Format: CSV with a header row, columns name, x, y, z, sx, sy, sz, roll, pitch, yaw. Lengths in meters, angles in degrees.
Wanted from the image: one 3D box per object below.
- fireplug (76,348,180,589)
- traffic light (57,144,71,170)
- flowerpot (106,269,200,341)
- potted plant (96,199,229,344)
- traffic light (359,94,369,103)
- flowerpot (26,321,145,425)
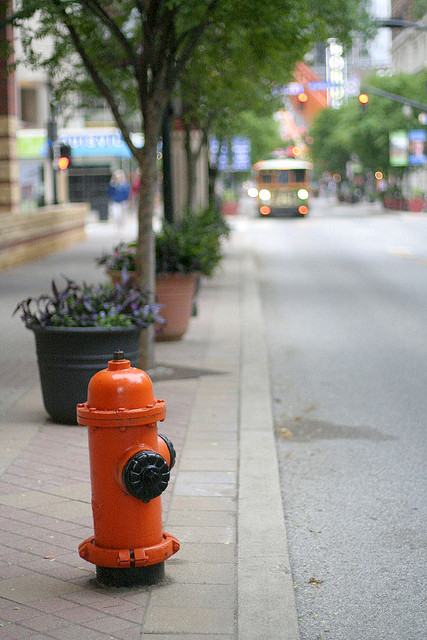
name,x,y,z,sx,sy,sz,roll,pitch,yaw
fireplug,-0.349,0.570,3.771,0.418,0.883,0.260,-1,7,-8
traffic light,-4.386,-4.781,26.780,0.335,0.691,0.762,0,7,-3
flowerpot,-0.698,-0.220,11.260,0.840,0.708,0.860,3,5,44
potted plant,-0.644,-0.469,11.408,1.746,1.850,1.221,-12,31,-27
traffic light,6.458,-9.602,39.403,0.414,0.438,0.098,0,1,-42
flowerpot,-0.929,0.363,6.932,0.763,0.647,0.799,0,1,31
